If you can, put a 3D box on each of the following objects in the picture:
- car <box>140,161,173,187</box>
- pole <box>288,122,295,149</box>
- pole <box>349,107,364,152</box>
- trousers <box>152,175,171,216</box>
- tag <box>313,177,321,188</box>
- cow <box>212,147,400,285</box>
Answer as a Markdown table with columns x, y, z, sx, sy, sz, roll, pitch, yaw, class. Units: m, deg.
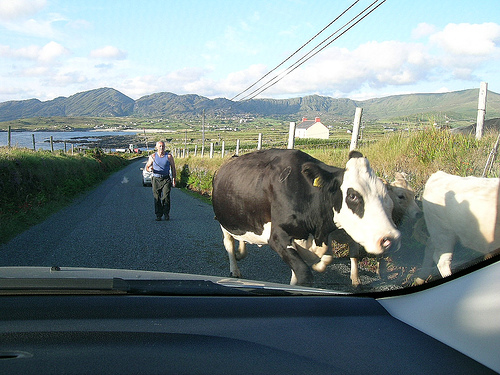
| x | y | z | sx | sy | sz | roll | pitch | yaw | class |
| --- | --- | --- | --- | --- | --- | --- | --- | --- | --- |
| -5.360 | -0.936 | 20.293 | 1.686 | 1.434 | 2.737 | 0 | -2 | -9 | car |
| 1.259 | -1.588 | 11.014 | 0.194 | 0.762 | 0.615 | 1 | 5 | 5 | pole |
| 2.427 | -1.331 | 8.311 | 0.247 | 0.929 | 0.498 | 2 | 5 | 16 | pole |
| -2.634 | 0.223 | 10.976 | 0.498 | 1.160 | 0.767 | -1 | 5 | -15 | trousers |
| 0.797 | -0.061 | 4.402 | 0.064 | 0.086 | 0.024 | -3 | -8 | 38 | tag |
| 0.492 | 0.529 | 5.233 | 1.112 | 1.891 | 3.674 | 2 | -4 | -30 | cow |
